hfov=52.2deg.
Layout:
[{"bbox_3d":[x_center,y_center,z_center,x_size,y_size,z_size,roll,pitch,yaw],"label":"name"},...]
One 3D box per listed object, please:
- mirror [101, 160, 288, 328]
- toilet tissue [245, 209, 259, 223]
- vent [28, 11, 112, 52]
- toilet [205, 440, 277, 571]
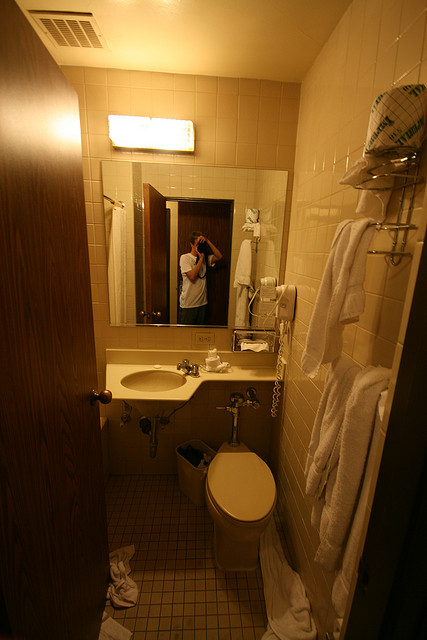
[{"bbox_3d":[-0.097,-0.383,1.998,0.541,0.656,0.032,1,19,-5],"label":"mirror"},{"bbox_3d":[0.176,-0.473,1.979,0.043,0.067,0.055,1,12,7],"label":"toilet tissue"},{"bbox_3d":[-0.495,-1.008,1.526,0.213,0.049,0.247,-1,16,-1],"label":"vent"},{"bbox_3d":[0.068,0.754,1.778,0.173,0.259,0.434,2,19,-15],"label":"toilet"}]
